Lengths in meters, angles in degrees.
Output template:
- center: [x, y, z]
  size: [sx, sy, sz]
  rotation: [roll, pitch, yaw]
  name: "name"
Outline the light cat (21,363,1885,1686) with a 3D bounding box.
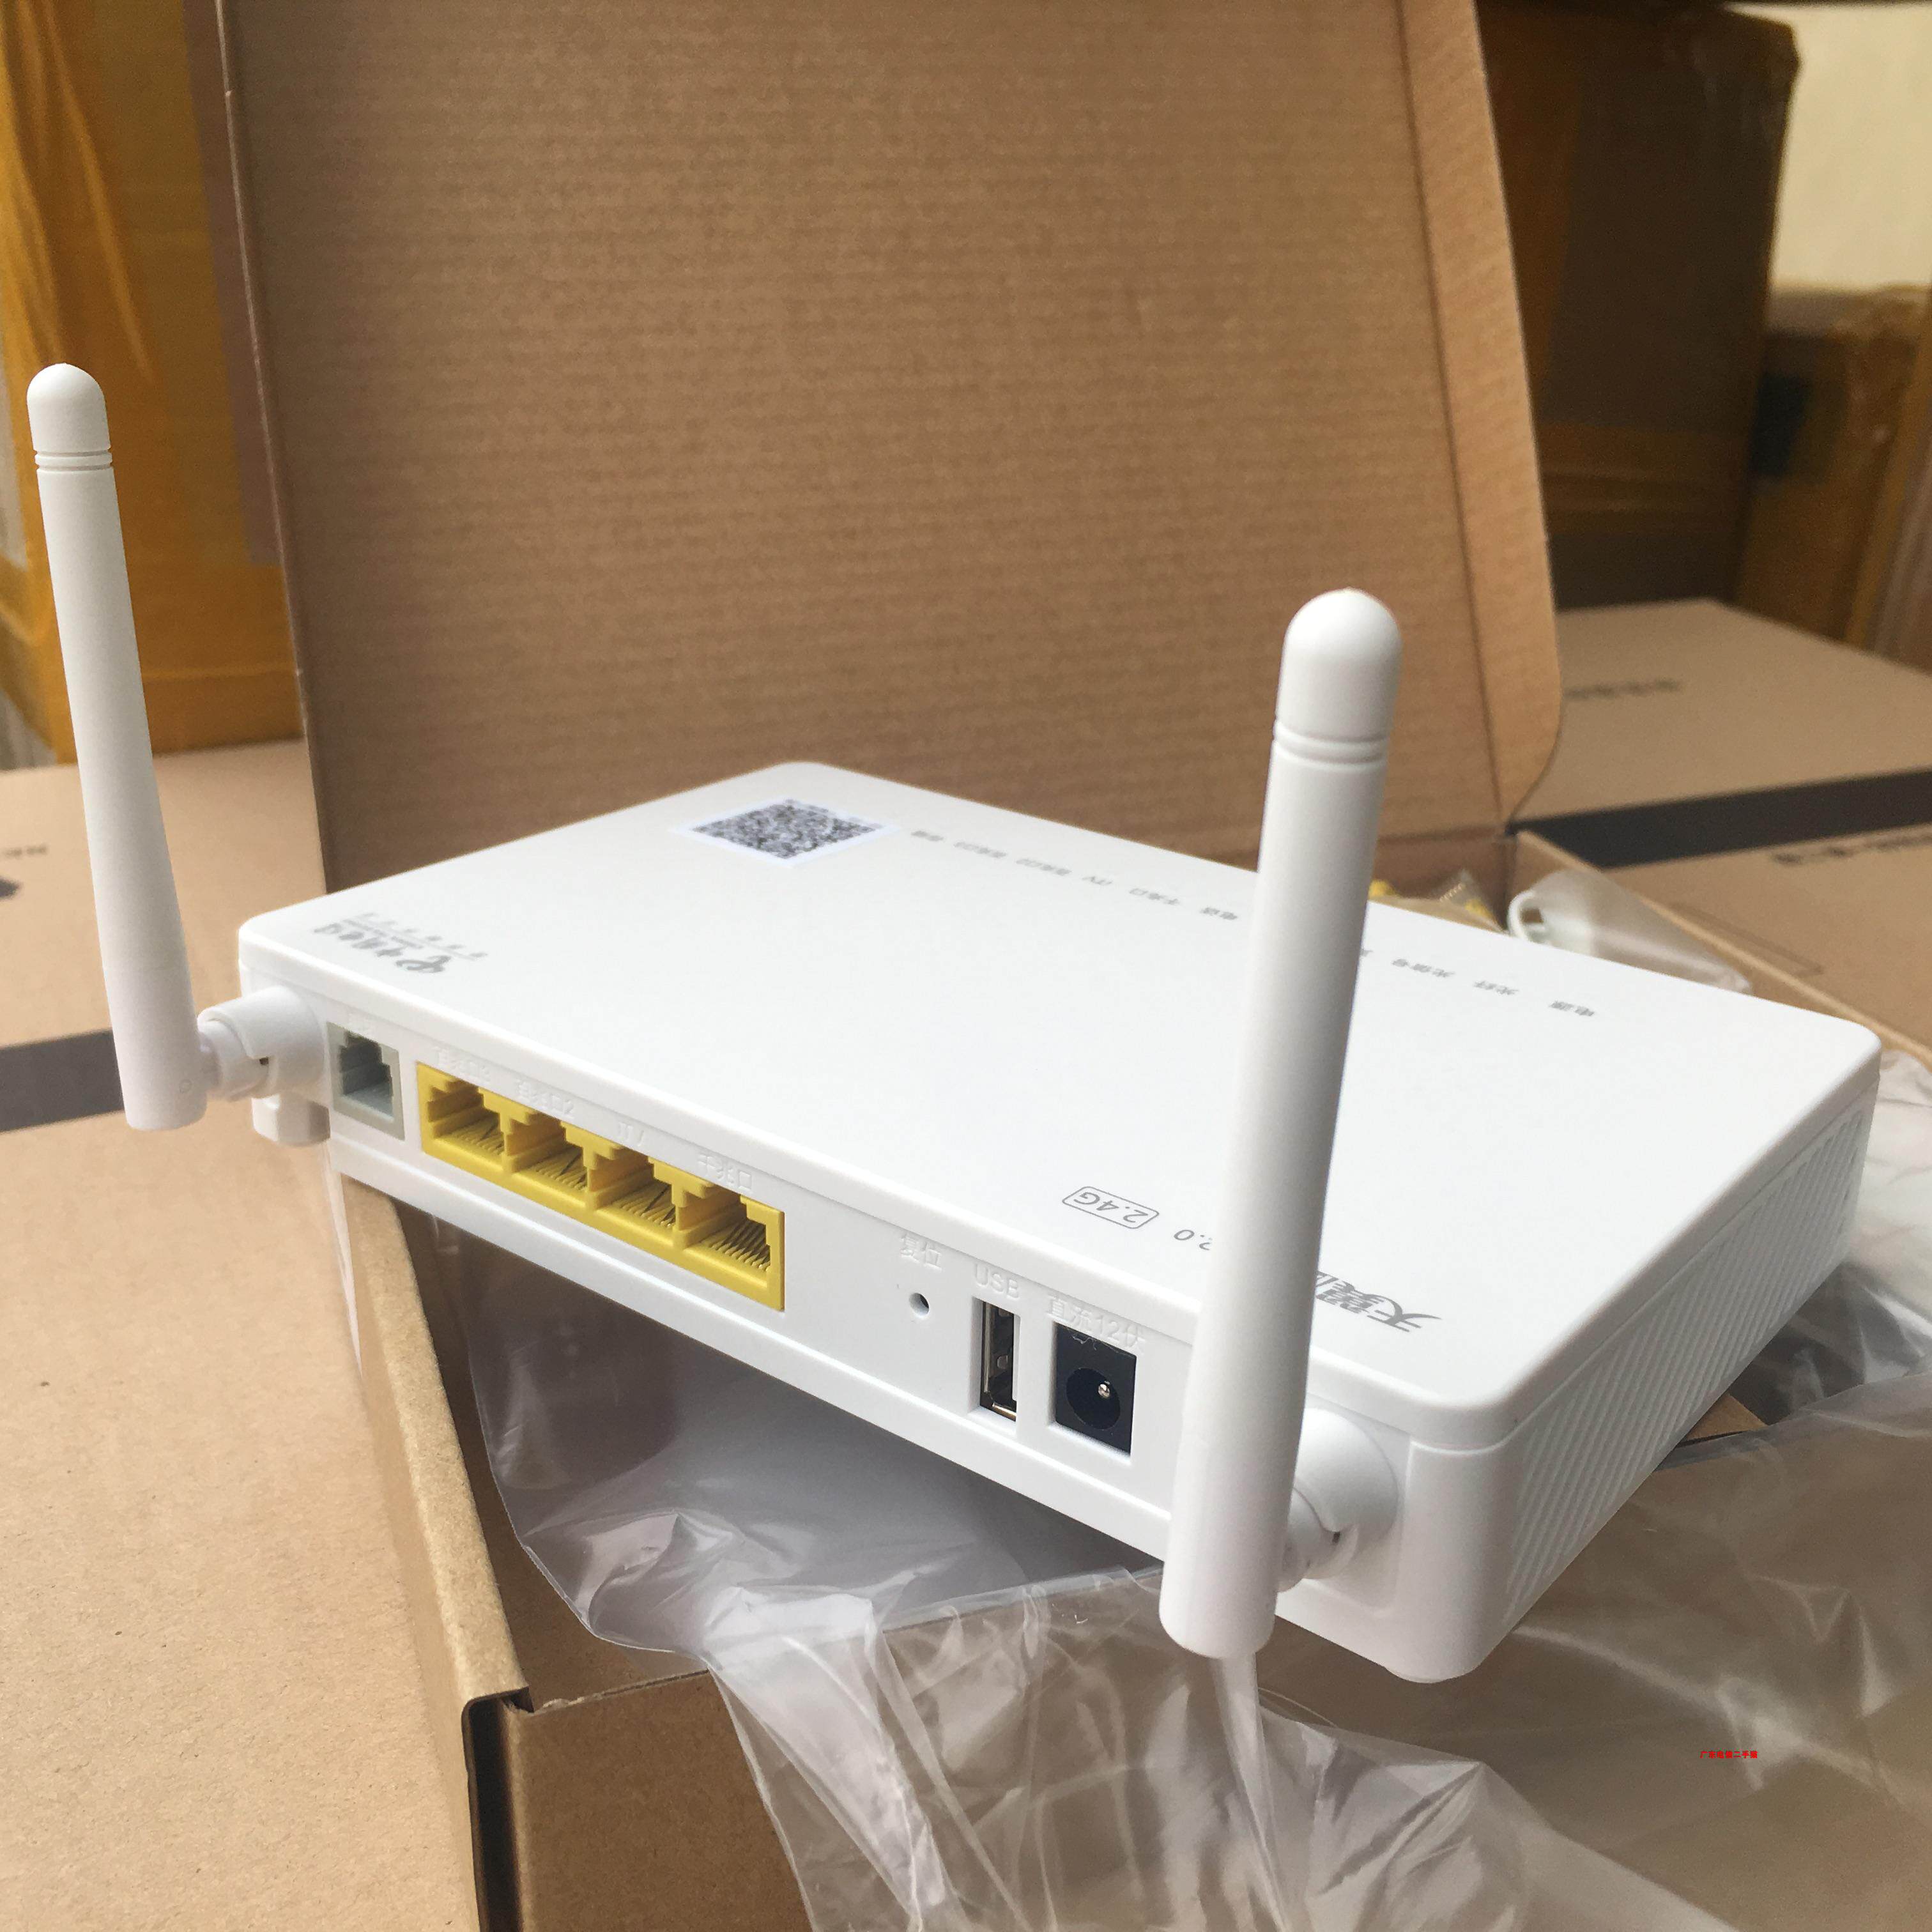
- center: [0.012, -0.044, 0.642]
  size: [0.469, 0.282, 0.387]
  rotation: [19, 29, 33]
  name: "light cat"
